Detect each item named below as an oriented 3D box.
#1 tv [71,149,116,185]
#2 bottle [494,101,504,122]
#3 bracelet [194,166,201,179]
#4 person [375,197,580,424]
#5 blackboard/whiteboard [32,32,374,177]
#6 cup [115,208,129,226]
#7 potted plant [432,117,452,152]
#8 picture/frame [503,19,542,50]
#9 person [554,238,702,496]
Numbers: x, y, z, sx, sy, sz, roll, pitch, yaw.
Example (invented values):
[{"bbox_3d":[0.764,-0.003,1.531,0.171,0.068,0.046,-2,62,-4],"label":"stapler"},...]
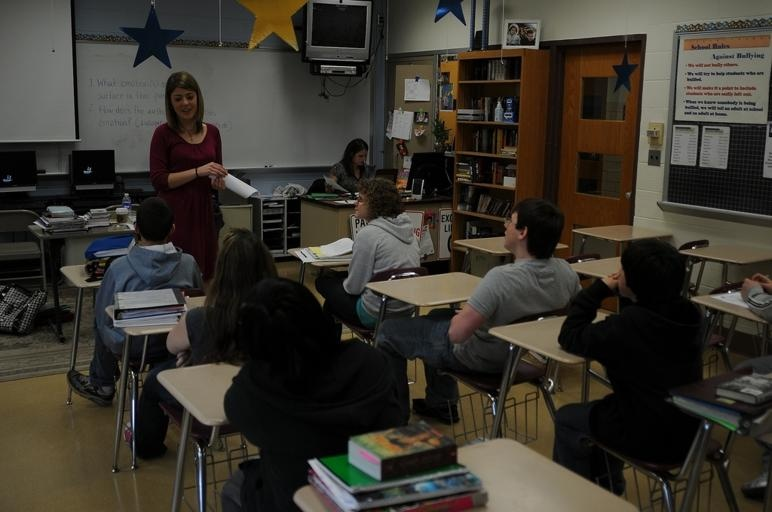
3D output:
[{"bbox_3d":[-3.797,-1.140,6.997,0.513,0.440,0.258,-3,4,-4],"label":"tv"},{"bbox_3d":[1.361,-1.741,6.380,0.108,0.243,0.115,0,14,0],"label":"bottle"},{"bbox_3d":[-1.410,-0.617,3.963,0.039,0.076,0.075,-5,16,-19],"label":"bracelet"},{"bbox_3d":[0.517,0.406,3.363,0.859,1.533,1.114,2,8,-44],"label":"person"},{"bbox_3d":[-2.556,-2.073,7.077,2.618,1.576,0.093,-3,7,-27],"label":"blackboard/whiteboard"},{"bbox_3d":[-2.691,-0.404,5.343,0.141,0.206,0.147,0,3,0],"label":"cup"},{"bbox_3d":[0.767,-1.677,7.442,0.216,0.381,0.203,-7,7,-9],"label":"potted plant"},{"bbox_3d":[1.591,-2.582,6.210,0.385,0.350,0.029,5,1,23],"label":"picture/frame"},{"bbox_3d":[1.129,0.581,2.495,0.617,1.332,0.345,10,17,33],"label":"person"}]
